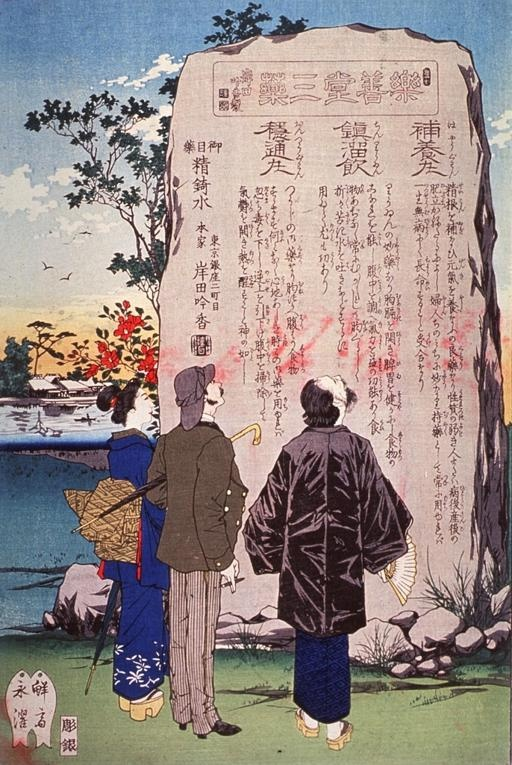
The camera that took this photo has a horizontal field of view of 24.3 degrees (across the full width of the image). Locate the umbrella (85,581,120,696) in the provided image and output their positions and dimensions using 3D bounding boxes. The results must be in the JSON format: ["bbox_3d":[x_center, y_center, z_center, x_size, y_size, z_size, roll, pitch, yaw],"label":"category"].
[{"bbox_3d":[-0.673,1.128,5.272,0.088,0.509,0.082,17,-2,8],"label":"umbrella"}]
